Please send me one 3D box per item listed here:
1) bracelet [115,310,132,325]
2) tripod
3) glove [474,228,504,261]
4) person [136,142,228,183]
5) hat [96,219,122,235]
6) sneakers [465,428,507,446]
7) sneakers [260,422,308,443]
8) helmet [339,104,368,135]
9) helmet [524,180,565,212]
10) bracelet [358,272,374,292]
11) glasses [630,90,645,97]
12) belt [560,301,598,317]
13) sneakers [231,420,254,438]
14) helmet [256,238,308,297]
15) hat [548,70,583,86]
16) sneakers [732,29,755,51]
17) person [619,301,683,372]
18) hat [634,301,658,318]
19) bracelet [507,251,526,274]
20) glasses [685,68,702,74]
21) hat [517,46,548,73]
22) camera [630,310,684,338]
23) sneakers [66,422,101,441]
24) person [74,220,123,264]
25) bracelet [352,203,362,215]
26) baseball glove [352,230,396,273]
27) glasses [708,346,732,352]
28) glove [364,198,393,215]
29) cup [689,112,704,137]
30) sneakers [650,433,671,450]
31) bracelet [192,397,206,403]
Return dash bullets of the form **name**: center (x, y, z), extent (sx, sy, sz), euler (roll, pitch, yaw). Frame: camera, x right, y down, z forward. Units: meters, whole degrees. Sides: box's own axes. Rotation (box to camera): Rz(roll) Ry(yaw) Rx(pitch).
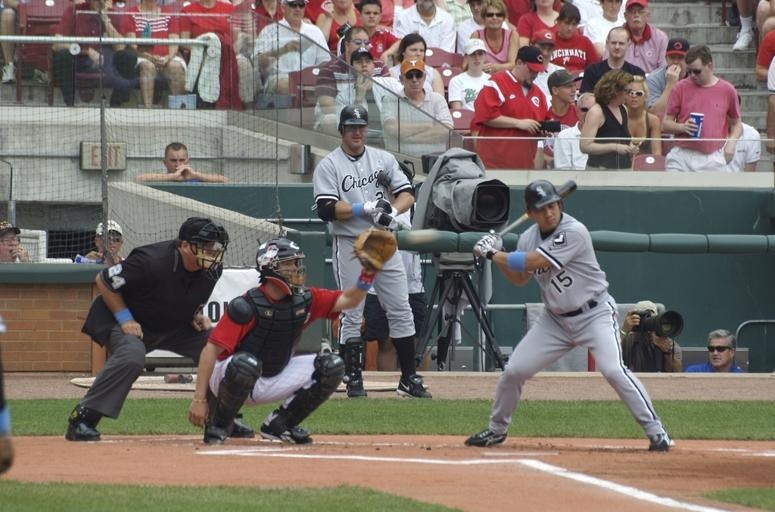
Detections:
- **bracelet**: center (-2.988, 0.663, 19.244), extent (0.178, 0.141, 0.179), euler (-14, 4, 6)
- **tripod**: center (0.998, 0.837, 22.860), extent (1.160, 1.686, 1.312), euler (-1, 11, 8)
- **glove**: center (1.204, -0.118, 19.606), extent (0.285, 0.144, 0.347), euler (22, 40, 24)
- **person**: center (-3.104, -1.371, 25.098), extent (1.272, 0.623, 0.607), euler (0, 7, -8)
- **hat**: center (-3.877, -0.402, 23.109), extent (0.299, 0.142, 0.212), euler (-14, -12, 27)
- **sneakers**: center (1.119, 2.055, 19.160), extent (0.511, 0.214, 0.183), euler (1, -3, -8)
- **sneakers**: center (-1.148, 2.001, 19.131), extent (0.464, 0.175, 0.230), euler (3, -2, 0)
- **helmet**: center (-0.437, -1.703, 20.845), extent (0.341, 0.335, 0.286), euler (3, 4, 9)
- **helmet**: center (1.745, -0.704, 19.274), extent (0.311, 0.230, 0.406), euler (-21, 5, 6)
- **bracelet**: center (-0.238, 0.282, 18.957), extent (0.209, 0.203, 0.188), euler (4, 5, 31)
- **glasses**: center (3.696, -2.390, 24.714), extent (0.141, 0.105, 0.338), euler (5, 4, 28)
- **belt**: center (2.195, 0.605, 19.122), extent (0.229, 0.053, 0.224), euler (-24, 3, -43)
- **sneakers**: center (-1.658, 1.982, 19.402), extent (0.284, 0.184, 0.154), euler (-3, 4, -2)
- **helmet**: center (-1.225, 0.119, 18.901), extent (0.599, 0.570, 0.487), euler (4, -4, 13)
- **hat**: center (2.590, -2.623, 24.752), extent (0.517, 0.185, 0.345), euler (-4, 7, 29)
- **sneakers**: center (6.060, -3.669, 28.677), extent (0.500, 0.214, 0.178), euler (-39, 30, -17)
- **person**: center (3.665, 1.120, 23.180), extent (0.933, 0.594, 0.998), euler (1, -2, -7)
- **hat**: center (3.572, 0.711, 23.346), extent (0.255, 0.246, 0.247), euler (5, 1, 32)
- **bracelet**: center (1.484, 0.050, 19.200), extent (0.177, 0.195, 0.218), euler (17, 24, -21)
- **glasses**: center (4.541, -2.748, 25.032), extent (0.163, 0.098, 0.313), euler (2, 3, -19)
- **hat**: center (2.049, -2.793, 23.820), extent (0.395, 0.225, 0.294), euler (34, 25, 28)
- **camera**: center (3.718, 0.908, 22.829), extent (0.424, 0.227, 0.450), euler (10, -12, -42)
- **sneakers**: center (-3.460, 1.975, 19.163), extent (0.361, 0.218, 0.190), euler (-2, 1, -4)
- **person**: center (-3.917, -0.123, 23.194), extent (0.835, 0.476, 0.557), euler (9, -22, -44)
- **bracelet**: center (-0.371, -0.581, 20.751), extent (0.115, 0.150, 0.140), euler (2, 4, -19)
- **baseball glove**: center (-0.128, -0.093, 18.909), extent (0.398, 0.506, 0.229), euler (43, -7, 1)
- **glasses**: center (4.585, 1.259, 23.144), extent (0.310, 0.106, 0.165), euler (4, 3, 14)
- **glove**: center (-0.115, -0.606, 20.768), extent (0.387, 0.214, 0.358), euler (4, 4, 25)
- **cup**: center (4.626, -1.959, 25.091), extent (0.195, 0.385, 0.314), euler (4, 4, 22)
- **sneakers**: center (3.115, 2.076, 18.986), extent (0.256, 0.168, 0.142), euler (-5, 8, -36)
- **bracelet**: center (-2.075, 1.594, 18.802), extent (0.164, 0.055, 0.109), euler (1, 4, -31)
